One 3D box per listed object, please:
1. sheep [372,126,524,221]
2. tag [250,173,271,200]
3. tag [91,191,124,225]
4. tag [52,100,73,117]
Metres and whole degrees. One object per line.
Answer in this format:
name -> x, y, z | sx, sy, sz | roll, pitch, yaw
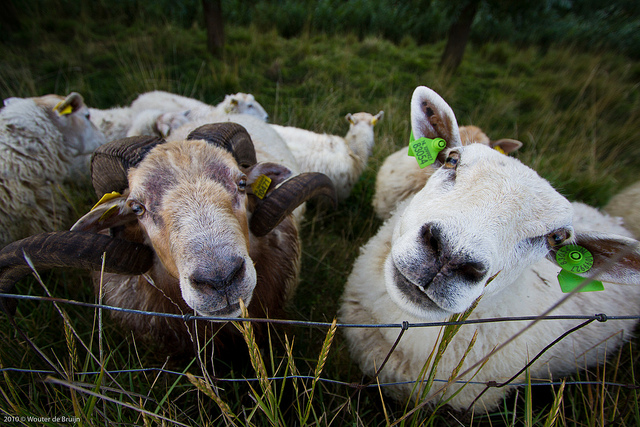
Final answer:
sheep -> 1.979, -0.593, 9.526 | 1.283, 1.794, 2.294 | -30, 29, -35
tag -> -0.777, -0.348, 7.999 | 0.239, 0.295, 0.146 | 13, 39, 1
tag -> -2.599, -0.054, 7.679 | 0.304, 0.428, 0.114 | 45, 13, 20
tag -> -3.856, -1.575, 9.265 | 0.200, 0.260, 0.095 | 51, 14, -6
